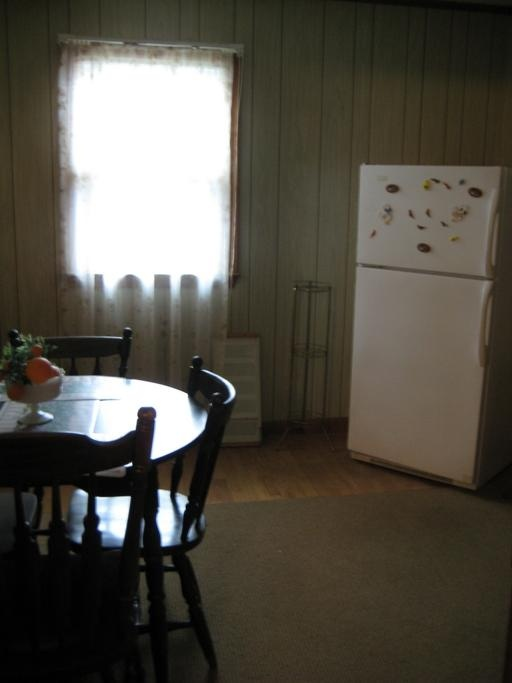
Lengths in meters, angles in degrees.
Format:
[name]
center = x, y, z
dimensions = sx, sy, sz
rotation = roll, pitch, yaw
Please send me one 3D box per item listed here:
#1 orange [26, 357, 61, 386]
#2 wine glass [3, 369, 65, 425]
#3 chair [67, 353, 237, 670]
[orange]
center = -0.578, 0.090, 1.581
dimensions = 0.055, 0.080, 0.092
rotation = 7, -13, -9
[wine glass]
center = -0.619, 0.148, 1.622
dimensions = 0.114, 0.148, 0.137
rotation = -4, 6, 2
[chair]
center = -0.240, 0.499, 2.010
dimensions = 0.563, 1.321, 0.643
rotation = 1, 5, -6
